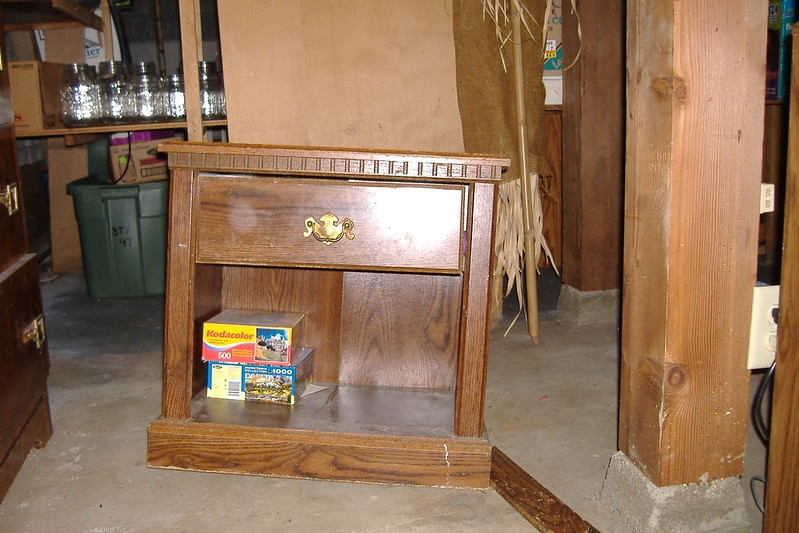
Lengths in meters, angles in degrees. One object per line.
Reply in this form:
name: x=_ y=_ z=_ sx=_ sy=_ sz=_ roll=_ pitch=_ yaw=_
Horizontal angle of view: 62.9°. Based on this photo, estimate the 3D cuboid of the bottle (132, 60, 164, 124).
bottle: x=-1.203 y=-0.822 z=3.099 sx=0.121 sy=0.266 sz=0.078 roll=-6 pitch=13 yaw=-19

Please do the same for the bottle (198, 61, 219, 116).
bottle: x=-0.857 y=-0.785 z=2.923 sx=0.076 sy=0.246 sz=0.210 roll=-4 pitch=13 yaw=-13

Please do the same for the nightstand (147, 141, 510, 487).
nightstand: x=-0.202 y=0.128 z=2.024 sx=0.930 sy=0.913 sz=0.517 roll=2 pitch=11 yaw=-2

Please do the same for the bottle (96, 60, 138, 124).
bottle: x=-1.376 y=-0.838 z=3.151 sx=0.152 sy=0.289 sz=0.196 roll=-7 pitch=14 yaw=-24

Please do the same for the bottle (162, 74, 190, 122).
bottle: x=-1.048 y=-0.789 z=3.066 sx=0.157 sy=0.213 sz=0.075 roll=10 pitch=17 yaw=42

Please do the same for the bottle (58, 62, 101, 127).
bottle: x=-1.569 y=-0.832 z=3.192 sx=0.190 sy=0.291 sz=0.110 roll=-3 pitch=13 yaw=-6
